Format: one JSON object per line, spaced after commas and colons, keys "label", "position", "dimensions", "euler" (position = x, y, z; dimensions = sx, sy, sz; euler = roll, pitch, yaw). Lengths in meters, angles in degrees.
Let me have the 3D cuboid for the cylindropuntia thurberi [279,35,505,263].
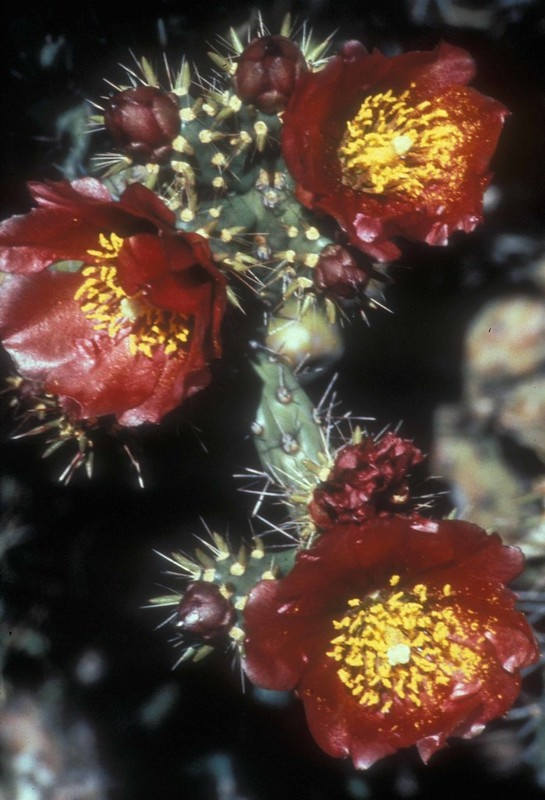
{"label": "cylindropuntia thurberi", "position": [0.116, -0.205, 0.613], "dimensions": [0.207, 0.147, 0.104], "euler": [-32, 46, -19]}
